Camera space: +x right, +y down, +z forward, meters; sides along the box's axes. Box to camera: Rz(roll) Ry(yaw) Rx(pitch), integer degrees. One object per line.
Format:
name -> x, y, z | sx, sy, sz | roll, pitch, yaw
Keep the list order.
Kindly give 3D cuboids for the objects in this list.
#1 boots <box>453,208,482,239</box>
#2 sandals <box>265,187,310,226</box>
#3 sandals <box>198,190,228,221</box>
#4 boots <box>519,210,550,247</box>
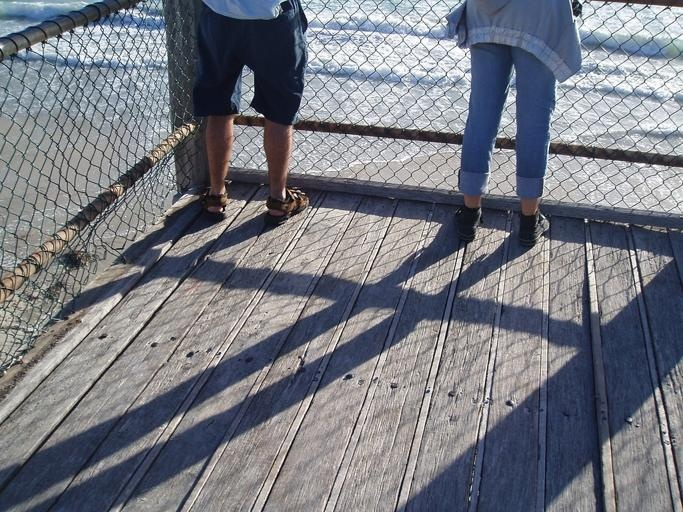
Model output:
boots -> 0.874, -0.247, 3.227 | 0.183, 0.190, 0.448 | 9, 17, 19
sandals -> -0.337, -0.359, 3.258 | 0.150, 0.167, 0.362 | 23, 45, 26
sandals -> -0.853, -0.325, 3.191 | 0.118, 0.101, 0.254 | 0, 42, -4
boots -> 1.245, -0.215, 3.099 | 0.121, 0.184, 0.297 | 10, 48, 33
